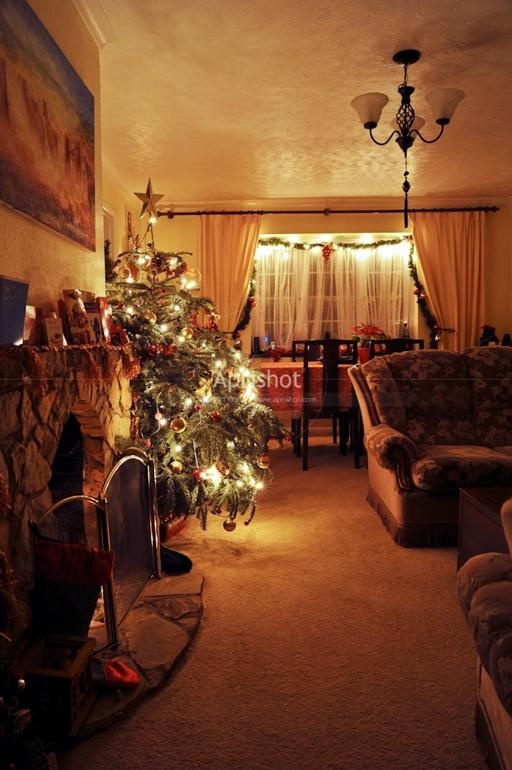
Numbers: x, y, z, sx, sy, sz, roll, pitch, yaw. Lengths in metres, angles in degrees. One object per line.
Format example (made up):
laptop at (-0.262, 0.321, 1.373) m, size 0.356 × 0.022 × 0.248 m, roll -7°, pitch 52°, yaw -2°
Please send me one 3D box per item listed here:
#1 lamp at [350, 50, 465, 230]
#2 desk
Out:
lamp at (0.828, -1.373, 3.129) m, size 0.576 × 0.940 × 0.654 m, roll 2°, pitch 16°, yaw 15°
desk at (0.326, -0.003, 4.716) m, size 0.617 × 0.323 × 0.440 m, roll 0°, pitch 2°, yaw 2°
